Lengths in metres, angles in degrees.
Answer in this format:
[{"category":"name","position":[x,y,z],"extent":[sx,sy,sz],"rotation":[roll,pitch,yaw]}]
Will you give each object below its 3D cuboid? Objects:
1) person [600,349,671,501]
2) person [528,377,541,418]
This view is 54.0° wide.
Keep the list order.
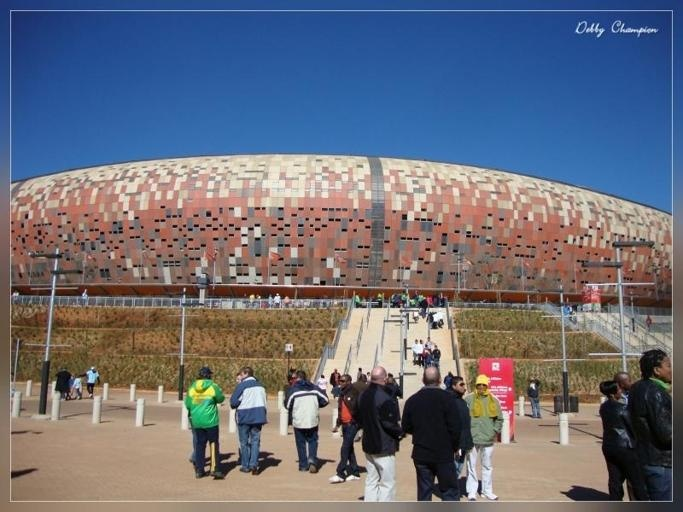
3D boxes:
[{"category":"person","position":[4.822,2.613,10.374],"extent":[0.684,2.300,0.762],"rotation":[-7,-13,23]},{"category":"person","position":[7.652,5.633,26.560],"extent":[0.382,1.517,1.287],"rotation":[-5,-12,14]}]
